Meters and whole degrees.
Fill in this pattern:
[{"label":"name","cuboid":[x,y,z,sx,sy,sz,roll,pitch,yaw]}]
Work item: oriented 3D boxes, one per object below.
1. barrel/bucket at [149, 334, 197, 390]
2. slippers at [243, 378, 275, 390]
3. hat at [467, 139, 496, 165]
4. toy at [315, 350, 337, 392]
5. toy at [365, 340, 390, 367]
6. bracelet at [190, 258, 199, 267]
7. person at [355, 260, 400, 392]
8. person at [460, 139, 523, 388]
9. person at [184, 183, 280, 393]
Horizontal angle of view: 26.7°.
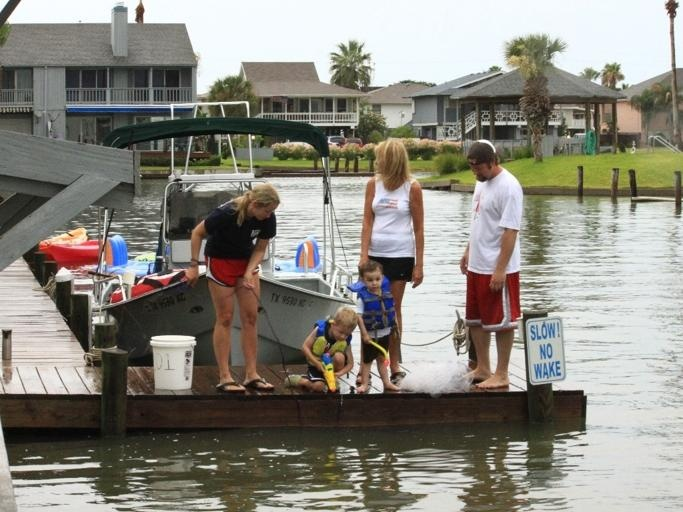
[{"label":"barrel/bucket","cuboid":[-2.003,1.299,17.342,0.614,0.596,0.616,1,0,0]},{"label":"slippers","cuboid":[-0.977,1.561,17.257,0.289,0.085,0.160,2,6,29]},{"label":"hat","cuboid":[1.617,-1.212,16.787,0.244,0.274,0.320,-4,-3,5]},{"label":"toy","cuboid":[-0.153,1.382,17.070,0.143,0.523,0.211,-10,20,8]},{"label":"toy","cuboid":[0.453,1.139,17.080,0.345,0.256,0.090,35,-18,-12]},{"label":"bracelet","cuboid":[-1.714,0.075,16.811,0.072,0.096,0.072,12,16,11]},{"label":"person","cuboid":[0.392,0.847,17.047,0.495,1.599,0.478,-3,4,-2]},{"label":"person","cuboid":[1.742,0.137,16.962,0.555,2.977,0.795,-5,5,-21]},{"label":"person","cuboid":[-1.201,0.408,16.859,1.131,2.469,0.724,-3,4,8]}]
